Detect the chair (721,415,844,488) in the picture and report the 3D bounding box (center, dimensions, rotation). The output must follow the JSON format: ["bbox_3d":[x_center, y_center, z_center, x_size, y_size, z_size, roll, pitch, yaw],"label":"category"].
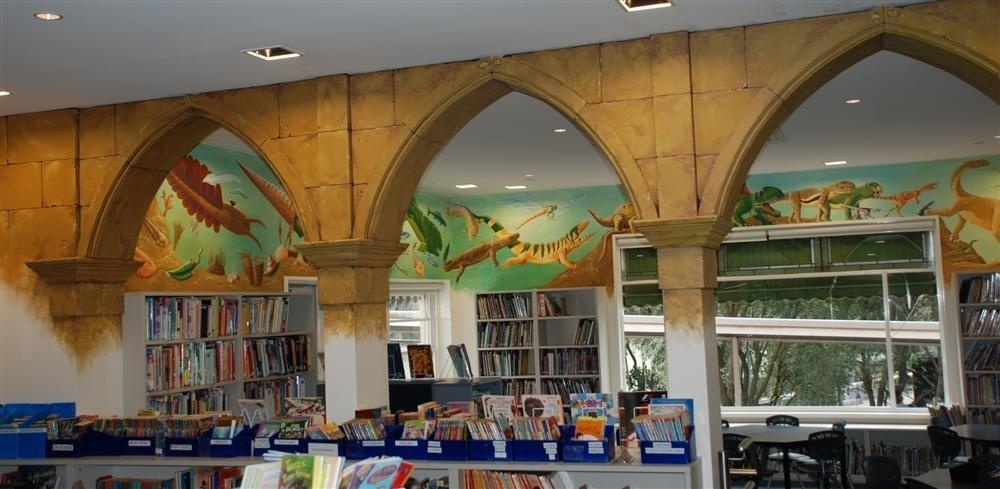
[{"bbox_3d":[4.137,3.371,17.501,1.435,0.802,1.762,-3,-2,23],"label":"chair"}]

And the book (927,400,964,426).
[{"bbox_3d":[7.043,2.659,18.591,0.392,0.409,0.165,-1,-7,14],"label":"book"}]

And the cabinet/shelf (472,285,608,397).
[{"bbox_3d":[0.780,1.702,20.269,2.263,1.953,0.650,-1,-6,6],"label":"cabinet/shelf"}]

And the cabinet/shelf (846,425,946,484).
[{"bbox_3d":[5.990,3.186,17.772,1.217,0.833,0.359,-1,-10,10],"label":"cabinet/shelf"}]

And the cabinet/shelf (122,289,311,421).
[{"bbox_3d":[-4.223,1.628,17.159,0.504,1.691,2.106,-8,-9,36],"label":"cabinet/shelf"}]
